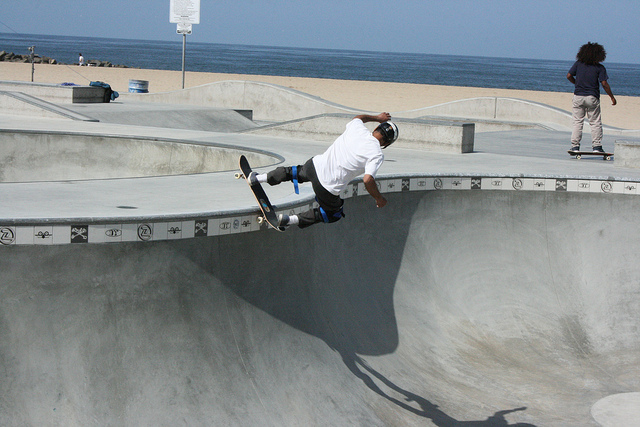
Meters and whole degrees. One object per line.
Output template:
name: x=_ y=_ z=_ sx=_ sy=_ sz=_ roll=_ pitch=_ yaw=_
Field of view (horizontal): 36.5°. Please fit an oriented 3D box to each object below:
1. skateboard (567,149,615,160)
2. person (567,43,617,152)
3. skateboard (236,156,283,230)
skateboard: x=5.255 y=-1.141 z=18.676 sx=0.782 sy=0.126 sz=0.307 roll=2 pitch=5 yaw=-1
person: x=5.200 y=-2.205 z=18.669 sx=0.791 sy=2.095 sz=0.989 roll=-2 pitch=7 yaw=4
skateboard: x=-0.957 y=-0.307 z=13.895 sx=0.350 sy=1.440 sz=0.208 roll=-8 pitch=-28 yaw=-48
